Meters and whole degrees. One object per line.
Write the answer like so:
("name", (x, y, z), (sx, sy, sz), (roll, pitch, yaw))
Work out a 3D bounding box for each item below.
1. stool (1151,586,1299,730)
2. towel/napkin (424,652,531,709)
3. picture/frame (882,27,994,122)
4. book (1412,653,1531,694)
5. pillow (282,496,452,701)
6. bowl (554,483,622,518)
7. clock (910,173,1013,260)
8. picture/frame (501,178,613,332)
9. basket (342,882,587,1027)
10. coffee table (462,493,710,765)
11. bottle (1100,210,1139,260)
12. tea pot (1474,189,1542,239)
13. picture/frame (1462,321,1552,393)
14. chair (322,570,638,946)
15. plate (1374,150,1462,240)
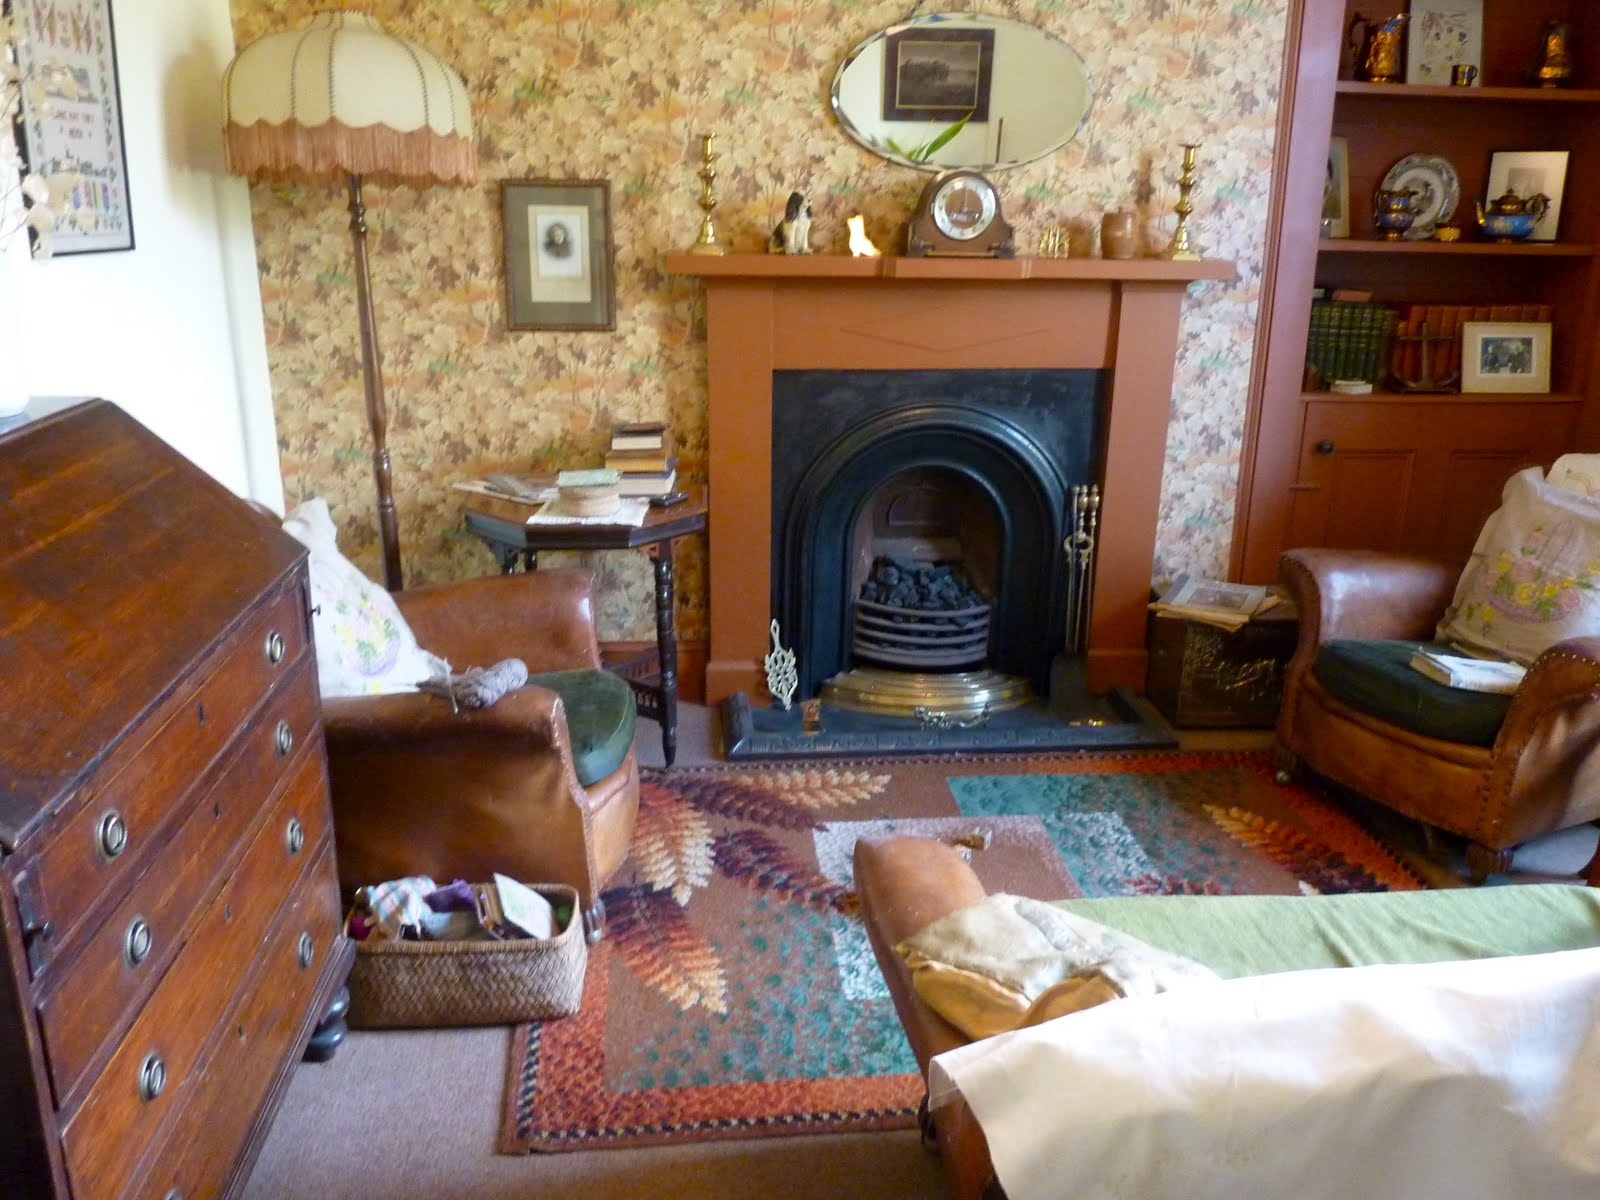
("stool", (1.446, 0.185, 4.040), (0.429, 0.419, 0.458), (0, 21, 5))
("towel/napkin", (-0.711, 0.184, 2.577), (0.223, 0.051, 0.147), (-13, 23, -39))
("picture/frame", (0.418, -1.650, 3.646), (0.265, 0.242, 0.010), (-1, 19, -8))
("book", (1.827, 0.185, 3.143), (0.291, 0.051, 0.265), (6, 18, 15))
("pillow", (-1.048, 0.058, 2.773), (0.138, 0.503, 0.429), (-13, 22, 13))
("bowl", (-0.642, -0.304, 3.430), (0.188, 0.101, 0.117), (2, 17, 3))
("clock", (0.498, -1.185, 3.666), (0.381, 0.321, 0.231), (-2, 12, -5))
("picture/frame", (-0.781, -1.111, 3.685), (0.403, 0.545, 0.040), (-1, 17, -5))
("basket", (-0.742, 0.783, 2.616), (0.400, 0.159, 0.252), (1, 1, -8))
("coffee table", (-0.655, 0.001, 3.882), (0.740, 0.920, 0.937), (-2, 20, -8))
("bottle", (1.049, -1.166, 3.735), (0.138, 0.152, 0.130), (0, 17, -5))
("tea pot", (2.501, -1.346, 4.090), (0.206, 0.175, 0.154), (6, 25, 15))
("picture/frame", (2.562, -0.866, 4.206), (0.230, 0.234, 0.019), (3, -4, -5))
("chair", (-0.802, 0.366, 2.986), (0.768, 0.841, 0.701), (-2, 35, -8))
("plate", (2.200, -1.441, 4.147), (0.284, 0.310, 0.068), (6, 15, -10))
